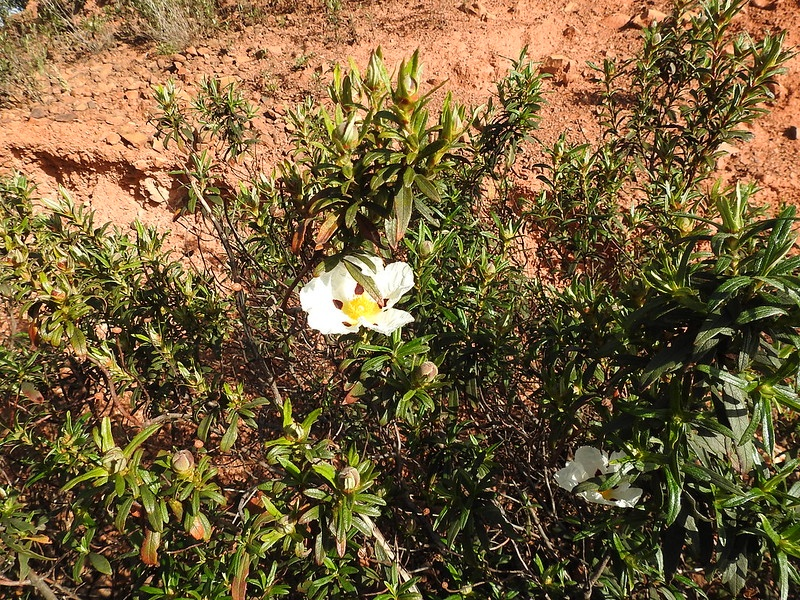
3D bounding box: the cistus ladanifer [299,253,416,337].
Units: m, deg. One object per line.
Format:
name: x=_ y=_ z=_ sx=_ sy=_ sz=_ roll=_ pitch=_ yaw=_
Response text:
cistus ladanifer: x=-0.231 y=0.011 z=3.791 sx=0.492 sy=0.222 sz=0.528 roll=24 pitch=67 yaw=27
